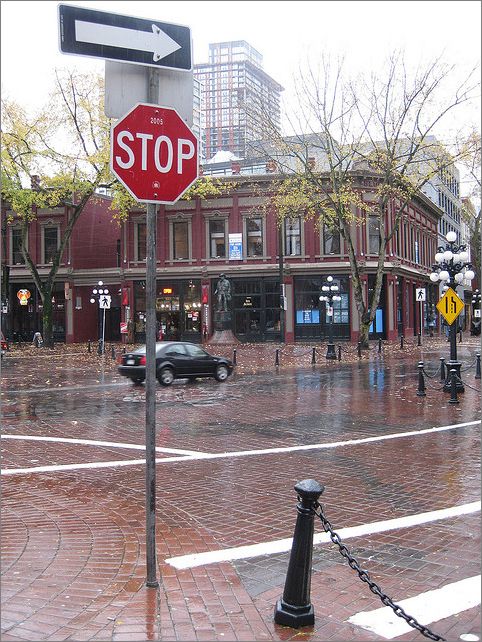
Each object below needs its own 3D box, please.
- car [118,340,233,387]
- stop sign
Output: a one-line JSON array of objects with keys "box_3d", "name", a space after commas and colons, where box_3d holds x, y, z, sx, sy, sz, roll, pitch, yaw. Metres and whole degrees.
[{"box_3d": [-1.838, 1.149, 20.649, 2.927, 1.179, 1.245, -4, 4, -42], "name": "car"}, {"box_3d": [-0.537, -1.076, 4.749, 0.618, 0.593, 0.282, -1, 1, -20], "name": "stop sign"}]
